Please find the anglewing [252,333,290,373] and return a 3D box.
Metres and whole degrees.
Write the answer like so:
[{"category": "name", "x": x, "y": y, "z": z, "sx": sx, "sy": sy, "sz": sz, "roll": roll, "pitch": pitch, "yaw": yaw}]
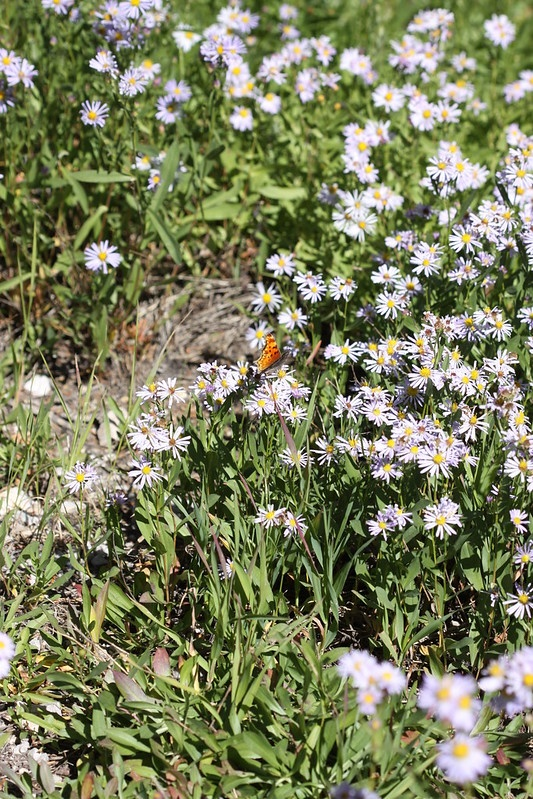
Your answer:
[{"category": "anglewing", "x": 0.015, "y": -0.132, "z": 2.204, "sx": 0.101, "sy": 0.087, "sz": 0.108, "roll": 3, "pitch": 5, "yaw": 29}]
